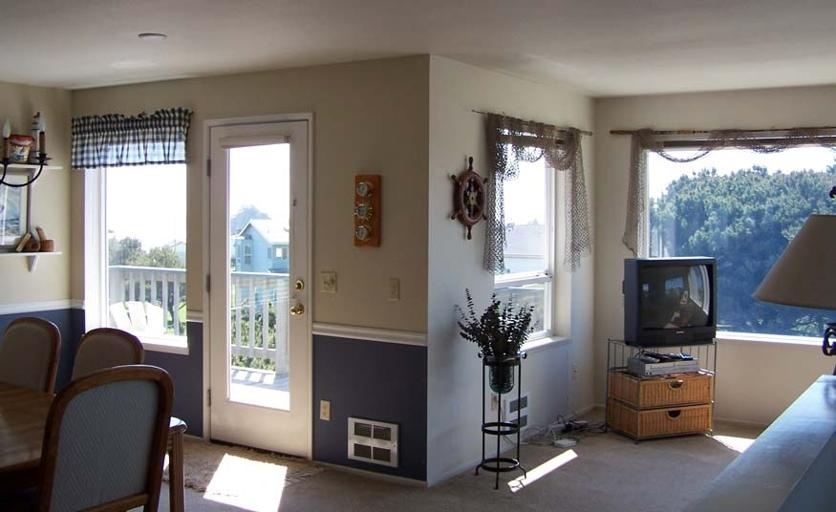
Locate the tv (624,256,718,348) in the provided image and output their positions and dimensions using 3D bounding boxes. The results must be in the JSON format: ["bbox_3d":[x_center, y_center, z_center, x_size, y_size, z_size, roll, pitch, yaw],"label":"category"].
[{"bbox_3d":[2.418,0.436,5.782,0.888,0.785,0.483,-1,2,-11],"label":"tv"}]

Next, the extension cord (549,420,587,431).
[{"bbox_3d":[1.487,1.669,5.947,0.172,0.044,0.169,2,-3,-34],"label":"extension cord"}]

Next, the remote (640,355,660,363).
[{"bbox_3d":[2.239,0.982,5.764,0.162,0.017,0.207,5,12,23],"label":"remote"}]

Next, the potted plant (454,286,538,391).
[{"bbox_3d":[0.742,0.608,5.380,0.811,1.022,0.905,0,3,12],"label":"potted plant"}]
